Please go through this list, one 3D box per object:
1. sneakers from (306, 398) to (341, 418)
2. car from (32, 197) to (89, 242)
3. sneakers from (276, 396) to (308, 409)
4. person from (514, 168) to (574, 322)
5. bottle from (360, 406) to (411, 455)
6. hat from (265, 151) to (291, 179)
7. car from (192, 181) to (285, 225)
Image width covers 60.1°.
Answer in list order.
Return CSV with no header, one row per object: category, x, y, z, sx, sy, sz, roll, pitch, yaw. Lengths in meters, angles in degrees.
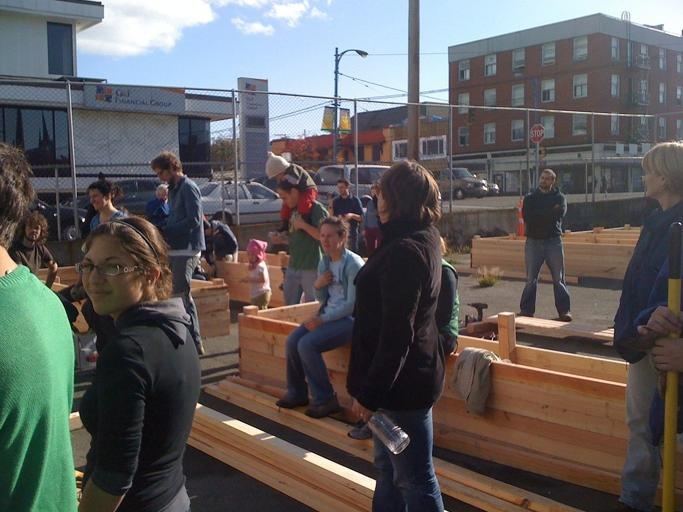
sneakers,-0.169,1.373,5.298,0.245,0.122,0.143,2,-6,-14
car,-5.234,-0.652,10.971,0.832,0.774,1.524,7,9,32
sneakers,-0.458,1.348,5.524,0.284,0.152,0.113,7,-4,-7
person,3.141,-0.139,9.001,0.735,2.302,0.827,2,8,18
bottle,0.238,0.902,3.031,0.218,0.167,0.112,6,11,41
hat,-0.749,-1.045,6.942,0.276,0.268,0.660,-2,9,-6
car,-2.545,-1.434,16.009,2.925,1.115,1.298,-10,14,-41
